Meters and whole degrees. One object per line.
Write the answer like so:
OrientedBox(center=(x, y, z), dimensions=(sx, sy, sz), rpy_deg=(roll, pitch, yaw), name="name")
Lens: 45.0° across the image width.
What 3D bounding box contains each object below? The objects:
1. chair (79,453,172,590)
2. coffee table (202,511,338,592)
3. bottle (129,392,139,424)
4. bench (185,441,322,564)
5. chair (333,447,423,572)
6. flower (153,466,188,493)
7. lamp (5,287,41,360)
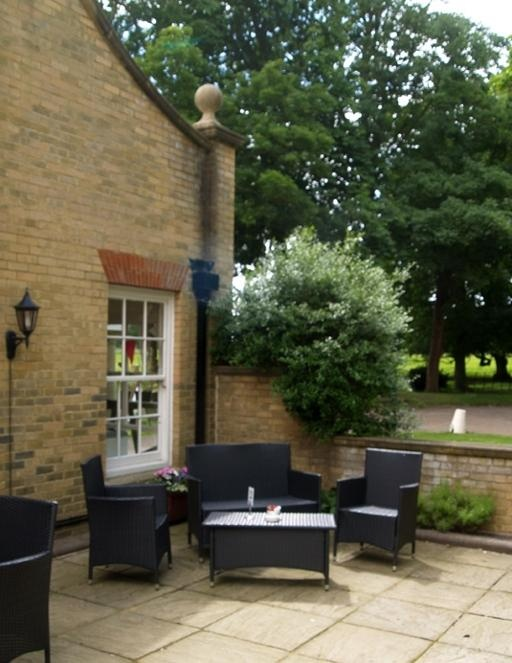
OrientedBox(center=(-1.094, 1.544, 5.304), dimensions=(0.901, 1.259, 0.913), rpy_deg=(0, -4, 6), name="chair")
OrientedBox(center=(0.100, 1.724, 4.919), dimensions=(1.046, 0.522, 0.590), rpy_deg=(0, -5, 8), name="coffee table")
OrientedBox(center=(-1.408, 0.883, 7.117), dimensions=(0.028, 0.379, 0.137), rpy_deg=(-1, -5, 20), name="bottle")
OrientedBox(center=(-0.045, 1.607, 5.969), dimensions=(1.216, 0.933, 0.693), rpy_deg=(2, -7, -23), name="bench")
OrientedBox(center=(1.138, 1.585, 5.636), dimensions=(0.677, 0.912, 0.680), rpy_deg=(8, -9, -43), name="chair")
OrientedBox(center=(-0.912, 1.614, 6.701), dimensions=(0.414, 0.284, 0.417), rpy_deg=(2, -16, -1), name="flower")
OrientedBox(center=(-2.024, -0.042, 5.509), dimensions=(0.241, 0.645, 0.361), rpy_deg=(-1, -5, 14), name="lamp")
